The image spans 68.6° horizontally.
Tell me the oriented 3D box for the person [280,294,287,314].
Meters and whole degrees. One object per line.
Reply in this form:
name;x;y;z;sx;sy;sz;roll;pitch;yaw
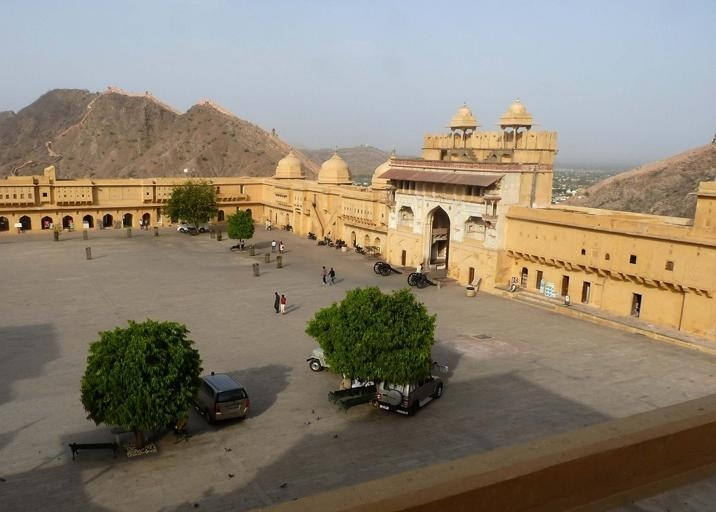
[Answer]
person;-4.832;3.007;34.004;0.397;1.088;1.522;-1;15;-7

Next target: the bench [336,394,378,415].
bench;0.037;6.309;22.381;1.733;0.627;0.694;-8;17;-32

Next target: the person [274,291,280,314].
person;-5.247;3.042;33.954;0.361;1.126;1.027;-2;15;-11

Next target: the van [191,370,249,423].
van;-5.482;5.934;21.292;1.413;1.155;2.825;-2;12;-28

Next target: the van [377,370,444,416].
van;2.241;5.827;22.797;1.304;1.203;2.539;7;16;38

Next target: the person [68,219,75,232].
person;-33.062;-3.538;60.674;0.666;0.960;1.479;-7;16;-27

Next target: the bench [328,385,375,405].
bench;-0.242;5.996;22.486;1.466;0.335;0.867;-8;22;-12

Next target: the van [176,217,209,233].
van;-19.370;-3.547;62.067;3.583;1.248;2.742;-10;18;-38
